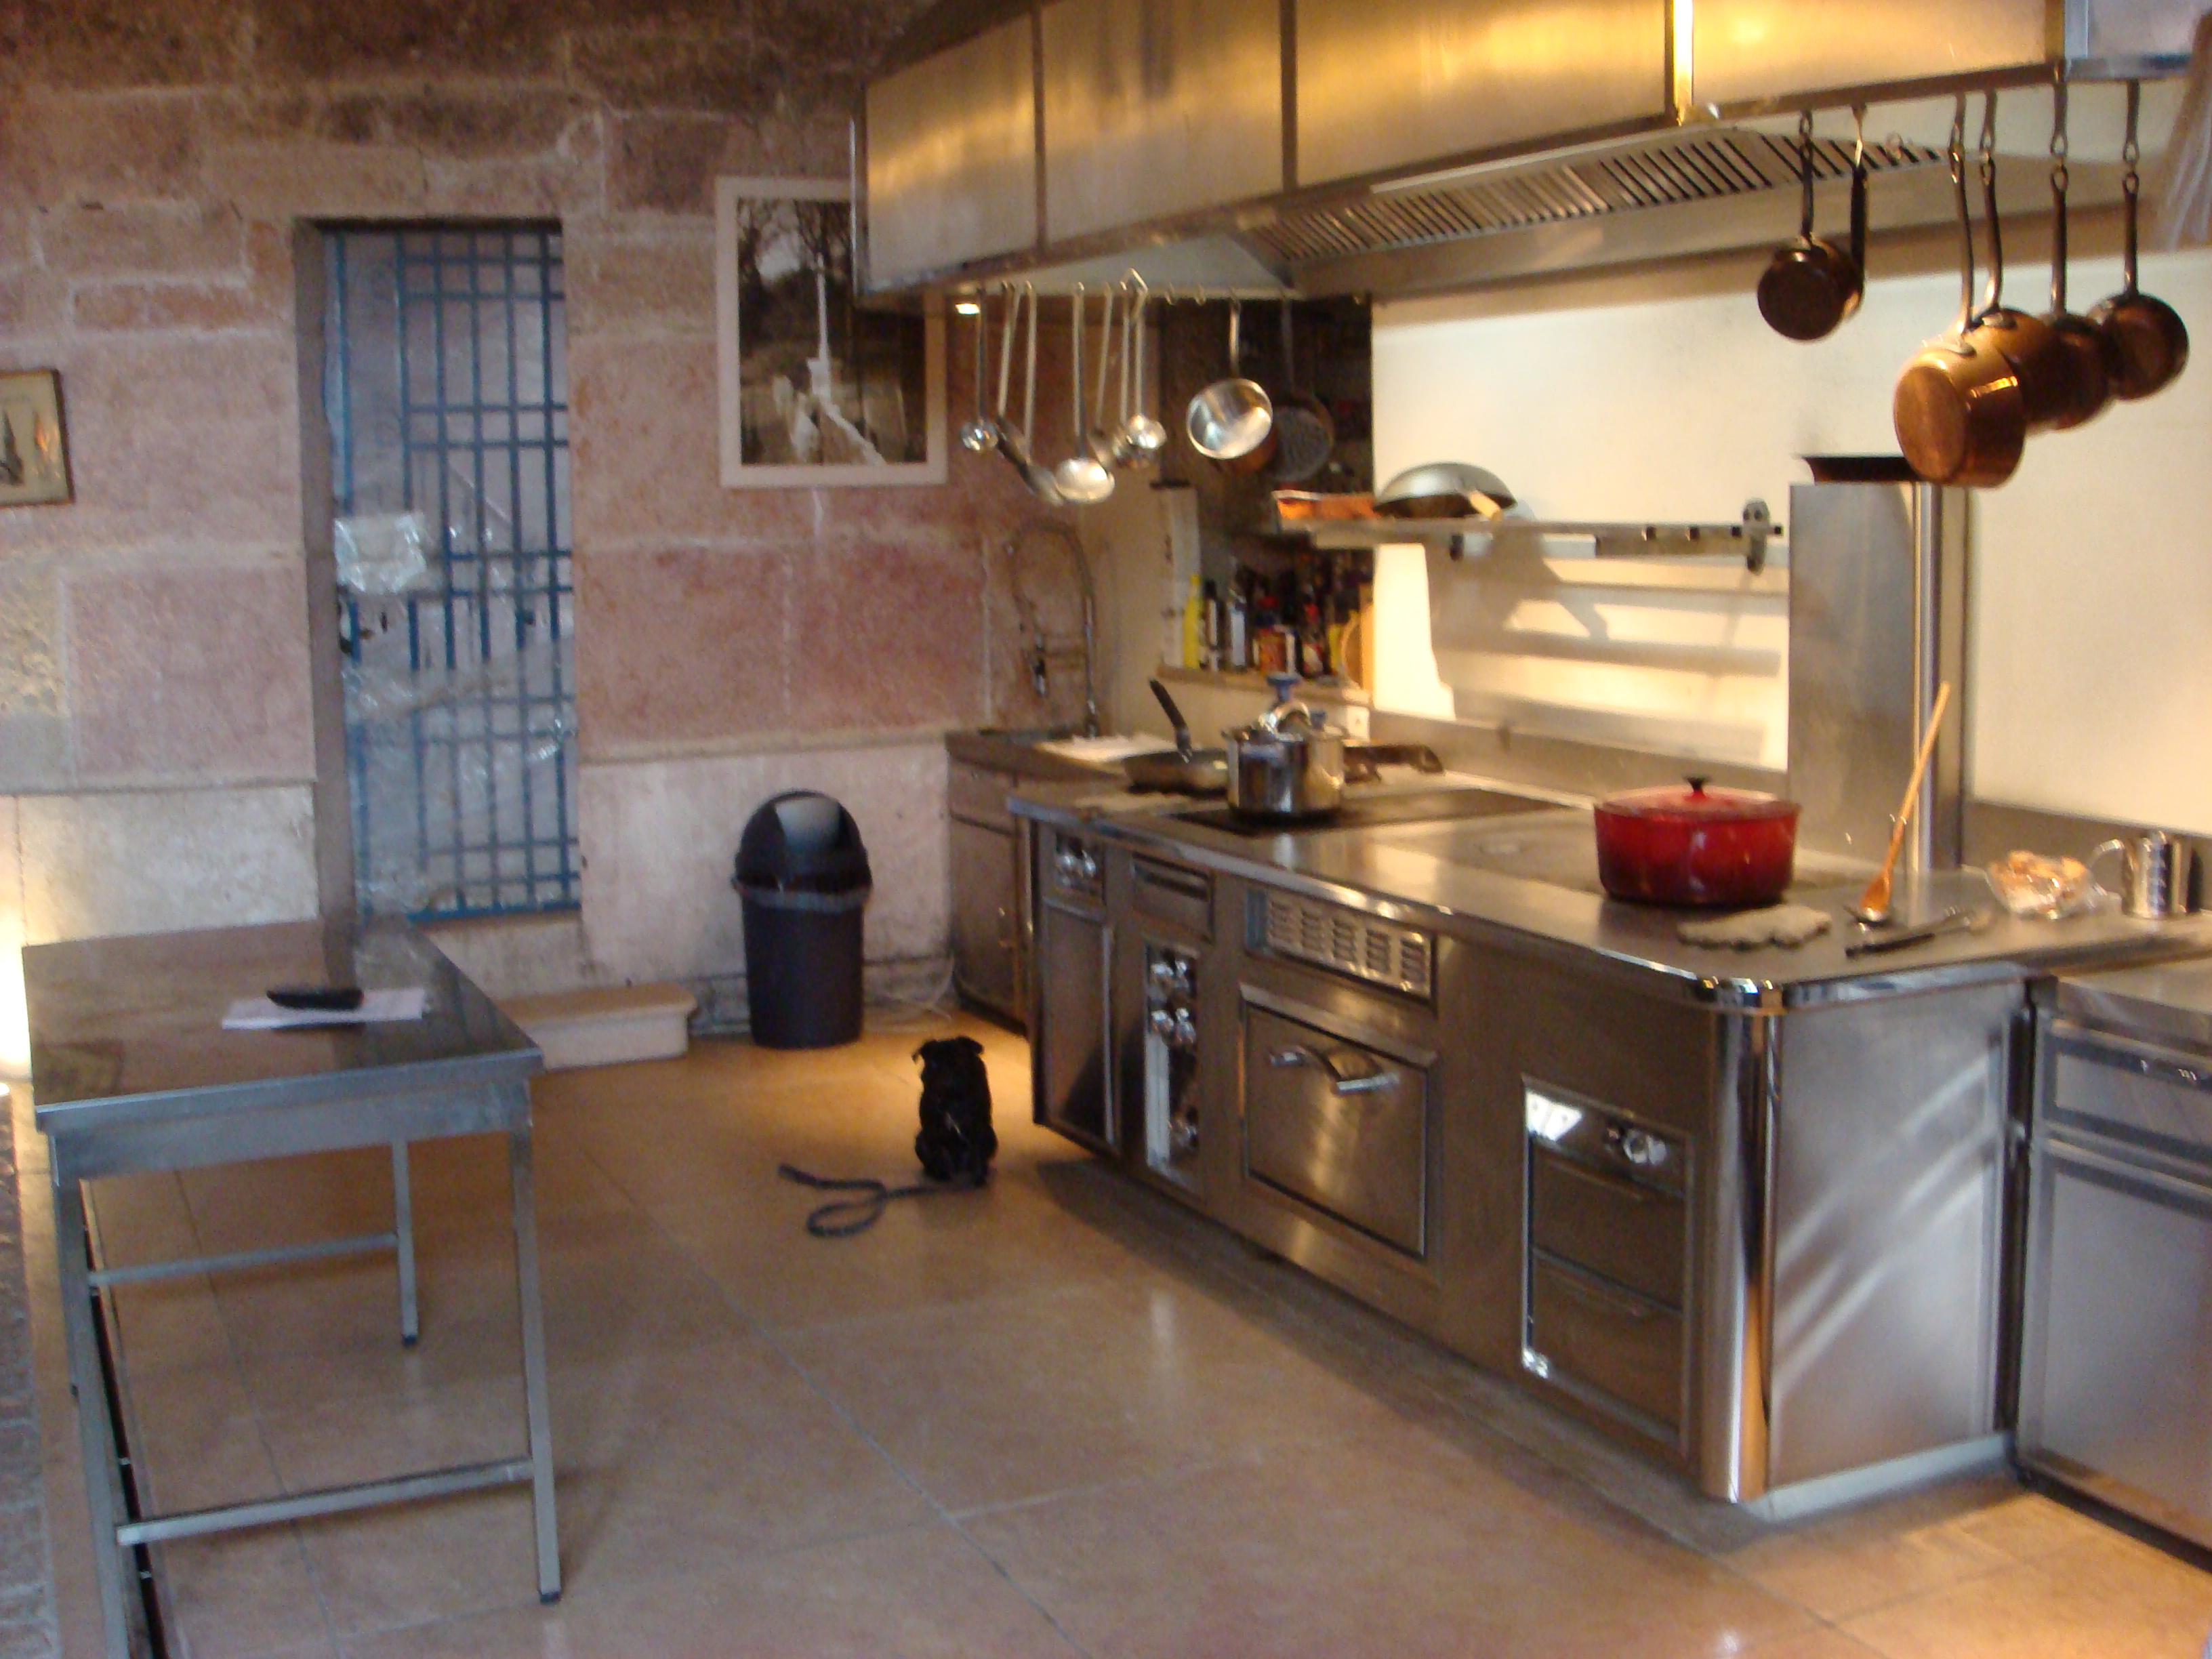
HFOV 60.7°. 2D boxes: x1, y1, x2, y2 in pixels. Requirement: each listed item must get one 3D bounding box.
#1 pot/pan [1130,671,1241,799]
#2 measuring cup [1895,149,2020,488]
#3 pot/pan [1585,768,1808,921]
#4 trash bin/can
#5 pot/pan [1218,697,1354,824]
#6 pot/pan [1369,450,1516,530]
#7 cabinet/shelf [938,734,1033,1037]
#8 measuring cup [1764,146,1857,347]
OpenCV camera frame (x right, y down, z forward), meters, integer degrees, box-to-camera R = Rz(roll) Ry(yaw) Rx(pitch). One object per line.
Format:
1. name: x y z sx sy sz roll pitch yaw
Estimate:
1. pot/pan: 0.199 -0.231 5.312 0.213 0.164 0.398 -3 10 -18
2. measuring cup: 1.428 -0.860 3.152 0.133 0.551 0.205 -2 4 -3
3. pot/pan: 1.210 0.024 3.910 0.297 0.197 0.308 -3 8 -10
4. trash bin/can: -1.036 0.338 6.478 0.417 0.910 0.397 0 9 -18
5. pot/pan: 0.468 -0.165 4.796 0.203 0.240 0.329 -1 1 -11
6. pot/pan: 0.888 -0.875 4.908 0.296 0.145 0.337 -6 13 -24
7. cabinet/shelf: -0.431 0.198 6.778 0.238 0.925 0.486 -2 10 -19
8. measuring cup: 1.241 -1.024 3.393 0.085 0.355 0.185 2 12 -5
